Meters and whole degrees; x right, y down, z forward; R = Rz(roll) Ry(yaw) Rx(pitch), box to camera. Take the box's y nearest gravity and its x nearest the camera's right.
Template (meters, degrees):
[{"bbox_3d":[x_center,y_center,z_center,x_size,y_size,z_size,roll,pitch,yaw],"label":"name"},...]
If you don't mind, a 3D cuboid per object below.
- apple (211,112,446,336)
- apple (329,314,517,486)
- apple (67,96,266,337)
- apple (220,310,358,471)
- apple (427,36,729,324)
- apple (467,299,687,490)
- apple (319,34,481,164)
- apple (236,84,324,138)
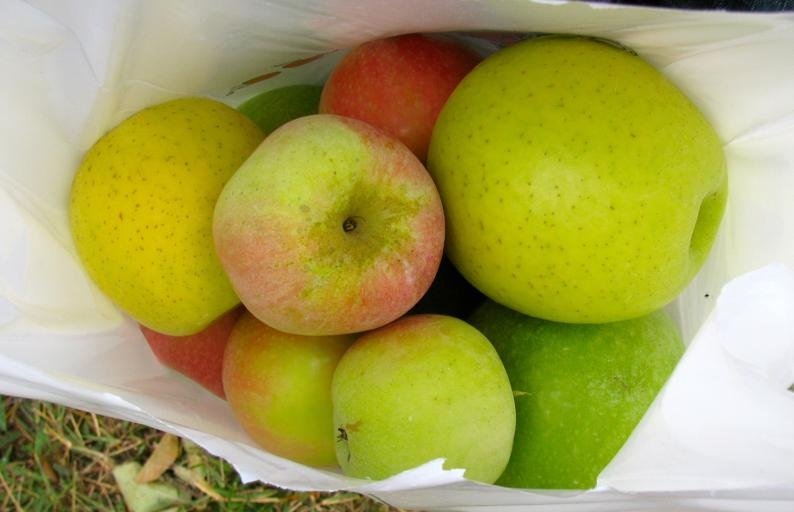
[{"bbox_3d":[-0.093,-0.051,0.919,0.254,0.252,0.256,-1,99,-8],"label":"apple"},{"bbox_3d":[0.011,0.195,0.962,0.208,0.201,0.205,-1,56,-15],"label":"apple"},{"bbox_3d":[-0.305,-0.041,0.996,0.252,0.238,0.235,18,74,32],"label":"apple"},{"bbox_3d":[-0.154,0.175,1.023,0.203,0.211,0.200,2,100,15],"label":"apple"},{"bbox_3d":[0.215,-0.110,1.038,0.410,0.352,0.361,12,91,13],"label":"apple"},{"bbox_3d":[0.211,0.177,0.929,0.210,0.234,0.228,3,44,6],"label":"apple"},{"bbox_3d":[-0.006,-0.243,1.008,0.144,0.145,0.150,-32,105,9],"label":"apple"},{"bbox_3d":[-0.171,-0.218,1.040,0.091,0.053,0.093,6,39,37],"label":"apple"}]
